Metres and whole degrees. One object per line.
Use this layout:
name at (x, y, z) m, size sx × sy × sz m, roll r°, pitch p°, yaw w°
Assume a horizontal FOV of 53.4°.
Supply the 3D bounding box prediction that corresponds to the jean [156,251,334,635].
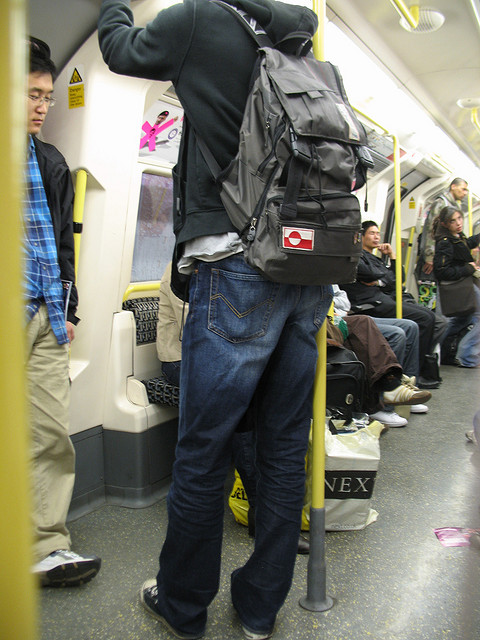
jean at (0.021, 0.405, 1.427) m, size 0.507 × 1.188 × 0.278 m, roll 1°, pitch 5°, yaw -12°

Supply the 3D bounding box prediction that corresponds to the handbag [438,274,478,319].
handbag at (2.692, -0.320, 5.946) m, size 0.425 × 0.574 × 0.302 m, roll -14°, pitch -8°, yaw 20°

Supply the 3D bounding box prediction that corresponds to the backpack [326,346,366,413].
backpack at (0.617, 0.379, 2.916) m, size 0.240 × 0.421 × 0.313 m, roll -10°, pitch -34°, yaw 29°

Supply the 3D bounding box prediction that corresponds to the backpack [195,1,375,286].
backpack at (0.145, -0.415, 1.259) m, size 0.469 × 0.634 × 0.305 m, roll 0°, pitch 6°, yaw -27°

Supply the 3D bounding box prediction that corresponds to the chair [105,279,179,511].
chair at (-0.516, 0.412, 2.520) m, size 0.366 × 1.016 × 0.434 m, roll 1°, pitch 5°, yaw -9°

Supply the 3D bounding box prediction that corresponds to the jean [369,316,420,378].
jean at (1.285, 0.232, 4.010) m, size 0.280 × 0.445 × 0.480 m, roll -15°, pitch 4°, yaw 8°

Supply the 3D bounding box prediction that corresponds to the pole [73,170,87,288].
pole at (-0.746, -0.423, 2.223) m, size 0.059 × 0.536 × 0.186 m, roll 1°, pitch 5°, yaw -19°
